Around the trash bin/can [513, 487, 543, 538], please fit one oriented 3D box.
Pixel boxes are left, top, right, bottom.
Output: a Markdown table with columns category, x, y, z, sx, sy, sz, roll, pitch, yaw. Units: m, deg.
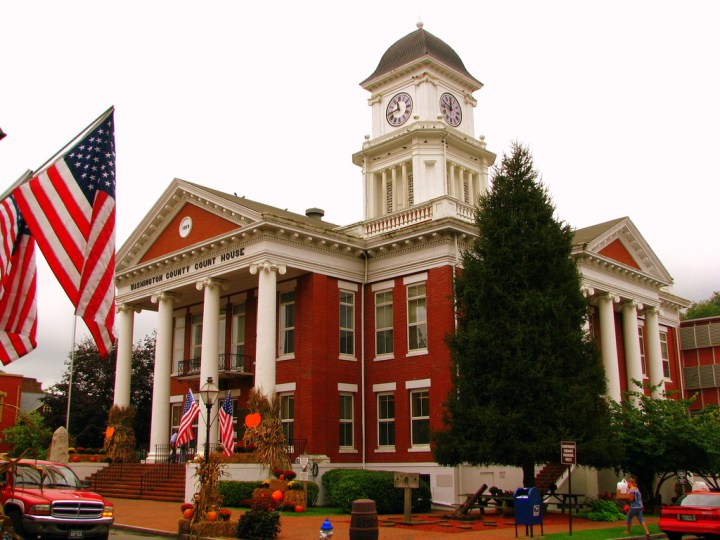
| category | x | y | z | sx | sy | sz | roll | pitch | yaw |
| --- | --- | --- | --- | --- | --- | --- | --- | --- | --- |
| trash bin/can | 4.867 | 7.032 | 20.077 | 0.781 | 1.339 | 1.678 | -4 | -20 | 11 |

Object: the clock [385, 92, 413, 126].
| category | x | y | z | sx | sy | sz | roll | pitch | yaw |
| --- | --- | --- | --- | --- | --- | --- | --- | --- | --- |
| clock | 2.247 | -9.087 | 39.167 | 0.234 | 2.265 | 2.110 | 13 | -13 | -40 |

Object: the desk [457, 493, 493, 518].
| category | x | y | z | sx | sy | sz | roll | pitch | yaw |
| --- | --- | --- | --- | --- | --- | --- | --- | --- | --- |
| desk | 4.214 | 8.550 | 25.227 | 1.075 | 0.864 | 3.802 | -4 | -21 | 10 |

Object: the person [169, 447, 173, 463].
| category | x | y | z | sx | sy | sz | roll | pitch | yaw |
| --- | --- | --- | --- | --- | --- | --- | --- | --- | --- |
| person | -9.107 | 8.935 | 33.360 | 0.224 | 0.618 | 0.737 | 6 | -21 | -18 |

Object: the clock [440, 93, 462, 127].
| category | x | y | z | sx | sy | sz | roll | pitch | yaw |
| --- | --- | --- | --- | --- | --- | --- | --- | --- | --- |
| clock | 5.066 | -9.099 | 39.371 | 0.216 | 2.133 | 2.023 | -15 | -22 | 41 |
